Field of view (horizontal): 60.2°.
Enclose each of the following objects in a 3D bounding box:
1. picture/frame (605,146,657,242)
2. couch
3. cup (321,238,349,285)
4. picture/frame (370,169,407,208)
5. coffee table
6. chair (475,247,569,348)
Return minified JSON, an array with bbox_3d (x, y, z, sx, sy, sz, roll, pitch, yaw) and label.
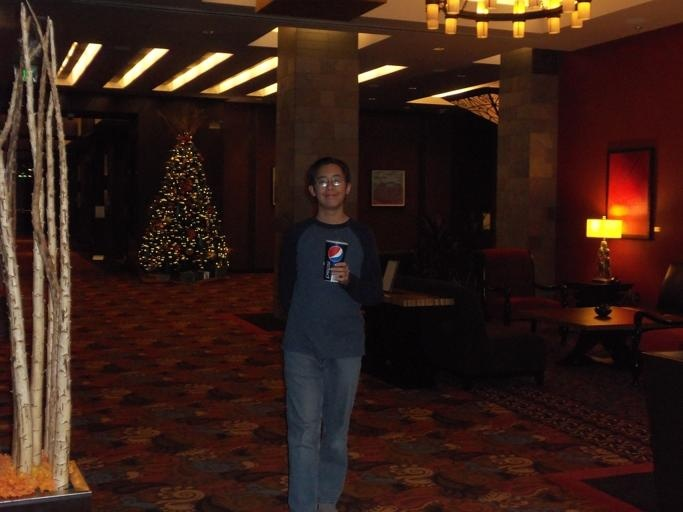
[{"bbox_3d":[4.415,-0.975,9.033,0.092,1.427,0.869,-1,4,-22],"label":"picture/frame"},{"bbox_3d":[1.421,0.792,5.969,1.282,1.107,0.686,-1,4,-20],"label":"couch"},{"bbox_3d":[-0.029,0.033,2.984,0.127,0.206,0.158,1,3,0],"label":"cup"},{"bbox_3d":[1.331,-2.003,17.532,1.195,1.066,0.086,-3,9,-12],"label":"picture/frame"},{"bbox_3d":[2.803,0.918,6.681,0.957,0.439,0.794,1,4,-4],"label":"coffee table"},{"bbox_3d":[2.685,0.543,8.860,1.212,1.191,1.266,-1,2,-35],"label":"chair"}]
